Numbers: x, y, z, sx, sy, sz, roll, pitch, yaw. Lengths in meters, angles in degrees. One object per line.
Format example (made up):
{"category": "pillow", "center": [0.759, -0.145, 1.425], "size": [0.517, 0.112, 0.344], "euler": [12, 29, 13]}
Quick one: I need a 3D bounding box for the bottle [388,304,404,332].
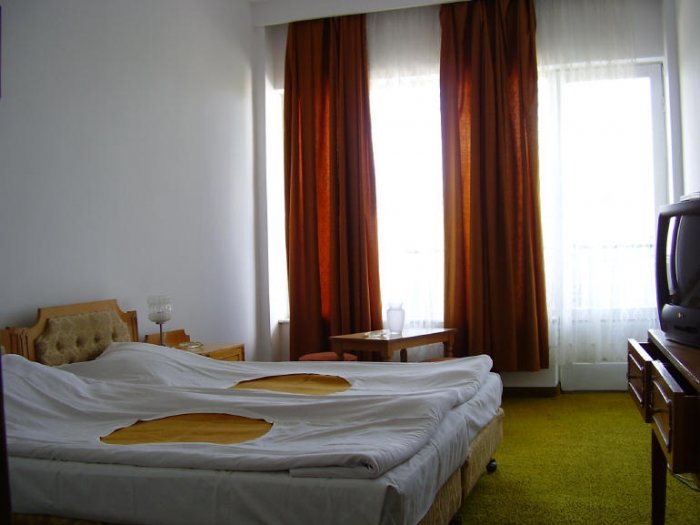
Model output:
{"category": "bottle", "center": [0.372, 0.455, 4.824], "size": [0.167, 0.307, 0.186], "euler": [-2, 0, 11]}
